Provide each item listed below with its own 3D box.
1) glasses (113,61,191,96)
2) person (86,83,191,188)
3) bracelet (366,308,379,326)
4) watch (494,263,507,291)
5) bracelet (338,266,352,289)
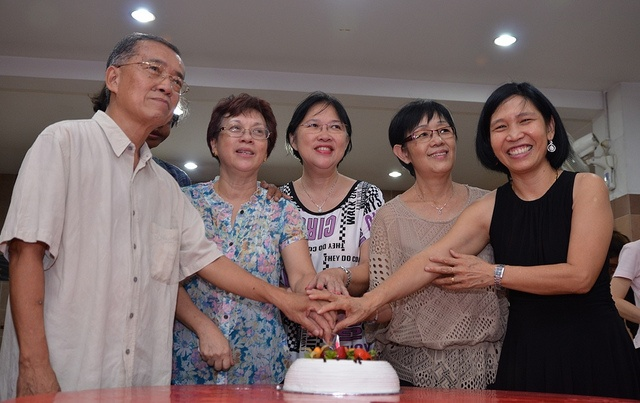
[{"bbox_3d":[-0.841,-0.655,2.382,0.229,0.071,0.250,-1,-6,-8],"label":"glasses"},{"bbox_3d":[-1.218,-0.433,3.085,0.686,0.449,0.907,0,7,-7],"label":"person"},{"bbox_3d":[0.311,0.701,2.744,0.103,0.040,0.105,2,-36,-4],"label":"bracelet"},{"bbox_3d":[0.955,0.411,2.460,0.061,0.112,0.107,1,5,25],"label":"watch"},{"bbox_3d":[0.150,0.470,2.826,0.035,0.107,0.087,-8,-47,-3],"label":"bracelet"}]
